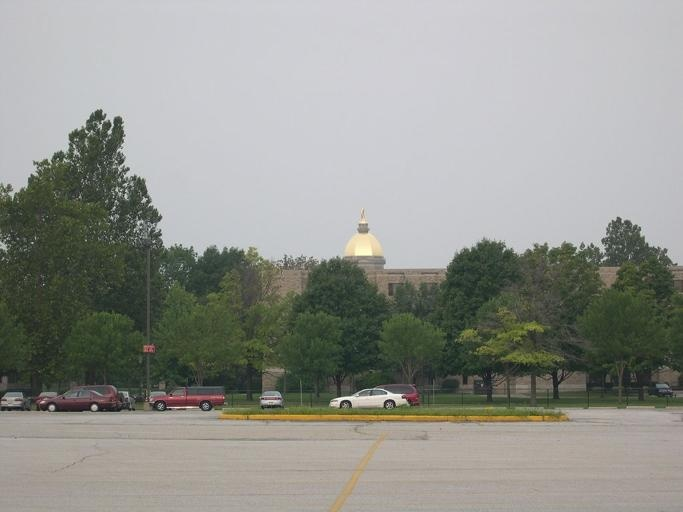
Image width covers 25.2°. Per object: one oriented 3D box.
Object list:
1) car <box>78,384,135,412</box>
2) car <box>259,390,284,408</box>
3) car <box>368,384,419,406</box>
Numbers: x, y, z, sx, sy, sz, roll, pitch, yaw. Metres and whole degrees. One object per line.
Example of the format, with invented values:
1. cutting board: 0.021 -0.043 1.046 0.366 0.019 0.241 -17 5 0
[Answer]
1. car: -18.808 10.818 116.710 3.088 1.293 1.857 4 -3 4
2. car: -5.787 11.160 119.615 1.702 1.350 2.075 2 -11 -3
3. car: 4.283 10.424 115.916 2.649 1.395 1.515 4 -4 5
